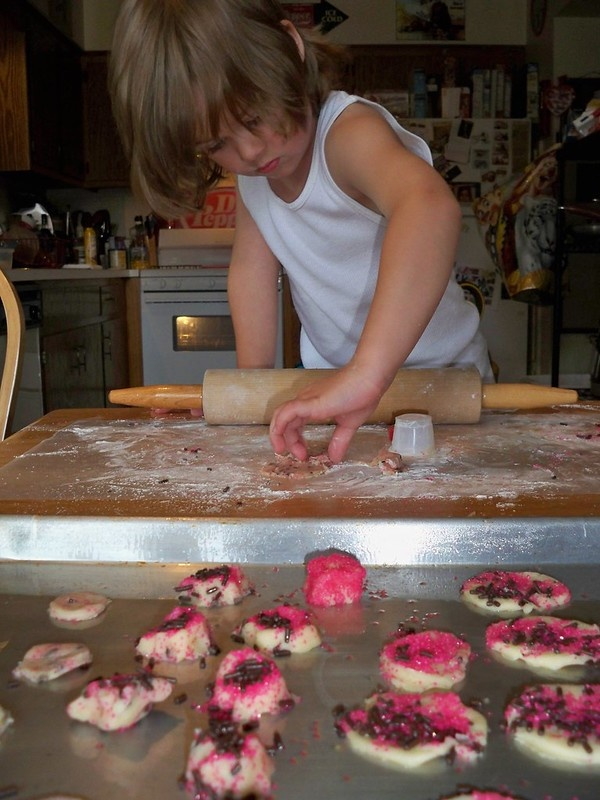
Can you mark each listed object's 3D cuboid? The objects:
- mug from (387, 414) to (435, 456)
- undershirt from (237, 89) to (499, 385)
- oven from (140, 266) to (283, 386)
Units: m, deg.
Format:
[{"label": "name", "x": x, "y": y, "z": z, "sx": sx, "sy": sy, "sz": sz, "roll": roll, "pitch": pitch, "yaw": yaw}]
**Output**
[{"label": "mug", "x": 0.137, "y": 0.041, "z": 0.888, "sx": 0.054, "sy": 0.037, "sz": 0.053, "roll": 11, "pitch": 13, "yaw": 39}, {"label": "undershirt", "x": 0.075, "y": -0.217, "z": 1.355, "sx": 0.359, "sy": 0.686, "sz": 0.274, "roll": 21, "pitch": 41, "yaw": 36}, {"label": "oven", "x": -0.541, "y": -0.362, "z": 3.877, "sx": 0.769, "sy": 0.912, "sz": 0.663, "roll": 0, "pitch": 1, "yaw": -2}]
